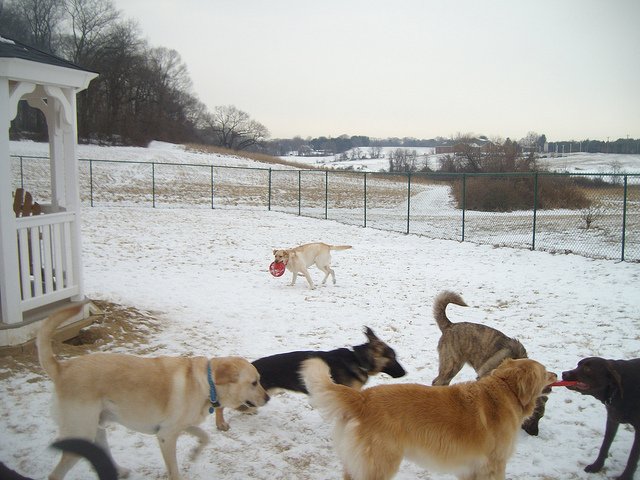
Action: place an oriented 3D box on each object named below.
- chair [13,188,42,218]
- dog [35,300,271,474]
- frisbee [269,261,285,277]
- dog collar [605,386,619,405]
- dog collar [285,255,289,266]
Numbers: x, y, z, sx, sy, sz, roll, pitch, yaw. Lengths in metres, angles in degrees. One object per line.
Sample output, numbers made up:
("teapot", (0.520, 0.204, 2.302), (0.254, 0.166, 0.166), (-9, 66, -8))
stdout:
("chair", (-5.003, -0.605, 10.105), (0.406, 0.498, 0.994), (-2, 12, -27))
("dog", (-2.092, 1.730, 7.192), (2.481, 1.928, 0.863), (-1, 11, -21))
("frisbee", (-1.001, 0.678, 13.776), (0.318, 0.370, 0.227), (2, 10, -10))
("dog collar", (3.628, 1.938, 7.383), (0.044, 0.186, 0.178), (29, 26, 22))
("dog collar", (-0.786, 0.452, 13.745), (0.098, 0.251, 0.037), (11, 13, 37))
